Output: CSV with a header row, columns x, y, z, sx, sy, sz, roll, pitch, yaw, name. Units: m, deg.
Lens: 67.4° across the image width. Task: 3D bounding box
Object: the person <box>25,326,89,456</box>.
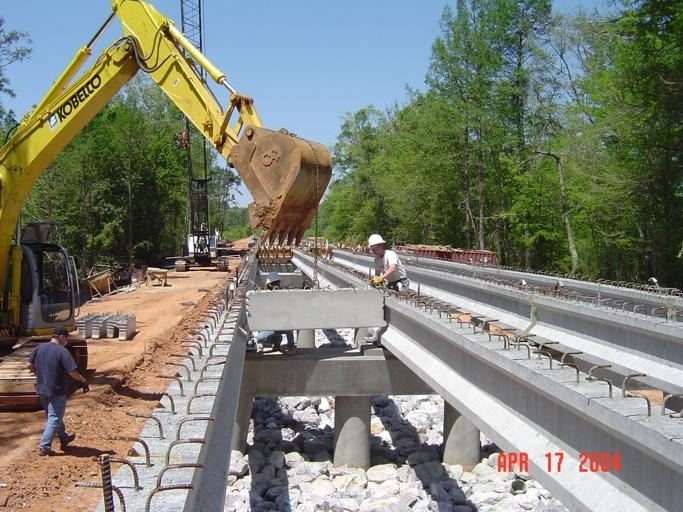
x,y,z,sx,sy,sz,roll,pitch,yaw,name
-5.185,2.371,9.290,0.909,1.699,1.173,2,0,-30,person
